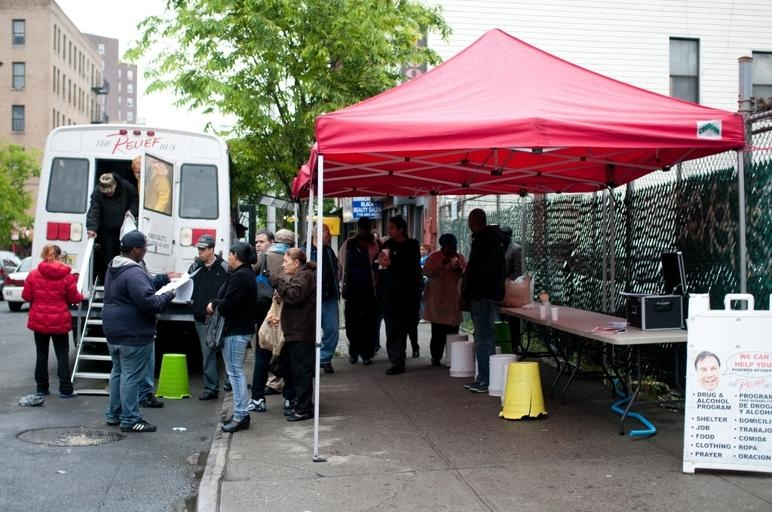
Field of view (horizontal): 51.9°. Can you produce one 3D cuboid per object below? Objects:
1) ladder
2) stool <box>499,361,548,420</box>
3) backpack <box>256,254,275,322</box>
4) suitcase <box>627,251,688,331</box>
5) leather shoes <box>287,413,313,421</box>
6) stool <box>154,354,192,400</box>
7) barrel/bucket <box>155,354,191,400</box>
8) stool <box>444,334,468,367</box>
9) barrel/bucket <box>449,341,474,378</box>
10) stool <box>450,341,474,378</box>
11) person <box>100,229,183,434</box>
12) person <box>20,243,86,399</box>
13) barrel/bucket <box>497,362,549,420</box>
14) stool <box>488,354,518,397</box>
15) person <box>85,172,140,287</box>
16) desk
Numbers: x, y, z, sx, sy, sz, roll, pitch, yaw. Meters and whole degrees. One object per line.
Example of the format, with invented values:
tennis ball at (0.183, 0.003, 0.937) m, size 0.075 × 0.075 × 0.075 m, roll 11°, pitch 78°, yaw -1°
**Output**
ladder at (-4.690, 1.238, 12.553) m, size 0.652 × 1.816 × 0.609 m, roll 8°, pitch -11°, yaw -39°
stool at (1.917, 1.845, 11.103) m, size 0.574 × 0.798 × 0.586 m, roll 0°, pitch -1°, yaw -5°
backpack at (-1.873, 0.490, 12.038) m, size 0.274 × 0.876 × 0.651 m, roll 7°, pitch 0°, yaw -2°
suitcase at (3.615, 0.457, 10.556) m, size 0.802 × 1.030 × 0.477 m, roll 1°, pitch -1°, yaw 9°
leather shoes at (-1.204, 2.225, 11.010) m, size 0.294 × 0.125 × 0.129 m, roll 6°, pitch -7°, yaw -20°
stool at (-3.389, 1.892, 12.558) m, size 0.575 × 0.653 × 0.550 m, roll 0°, pitch -3°, yaw 19°
barrel/bucket at (-3.341, 1.901, 12.363) m, size 0.656 × 0.688 × 0.584 m, roll 8°, pitch -9°, yaw -42°
stool at (1.169, 1.629, 13.710) m, size 0.523 × 0.565 × 0.509 m, roll 3°, pitch -5°, yaw -40°
barrel/bucket at (1.275, 1.730, 13.274) m, size 0.516 × 0.559 × 0.529 m, roll -1°, pitch -3°, yaw 0°
stool at (1.310, 1.806, 13.489) m, size 0.507 × 0.581 × 0.543 m, roll -13°, pitch -17°, yaw 22°
person at (-3.347, 1.007, 10.915) m, size 1.118 × 2.584 × 1.087 m, roll 0°, pitch 0°, yaw -41°
person at (-5.142, 0.981, 12.137) m, size 0.827 × 2.013 × 0.712 m, roll 2°, pitch -1°, yaw -23°
barrel/bucket at (1.904, 1.818, 11.005) m, size 0.602 × 0.786 × 0.529 m, roll 0°, pitch 0°, yaw -12°
stool at (1.672, 1.783, 11.788) m, size 0.551 × 0.585 × 0.547 m, roll -2°, pitch 1°, yaw -31°
person at (-4.653, -0.579, 13.527) m, size 0.900 × 2.170 × 0.998 m, roll -1°, pitch -2°, yaw -4°
desk at (3.045, 1.647, 11.405) m, size 1.403 × 1.719 × 4.576 m, roll 0°, pitch 0°, yaw -19°
